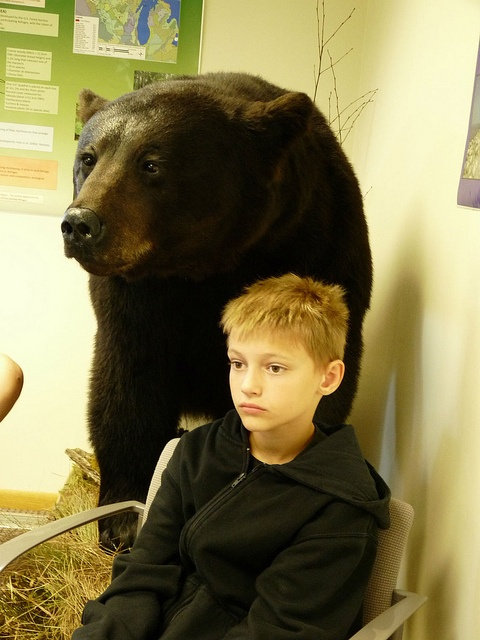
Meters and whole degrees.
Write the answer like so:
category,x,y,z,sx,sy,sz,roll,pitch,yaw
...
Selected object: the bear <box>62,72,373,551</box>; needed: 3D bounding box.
category,x,y,z,sx,sy,sz,roll,pitch,yaw
bear,-0.073,-0.156,2.266,0.919,1.443,1.861,6,6,19
